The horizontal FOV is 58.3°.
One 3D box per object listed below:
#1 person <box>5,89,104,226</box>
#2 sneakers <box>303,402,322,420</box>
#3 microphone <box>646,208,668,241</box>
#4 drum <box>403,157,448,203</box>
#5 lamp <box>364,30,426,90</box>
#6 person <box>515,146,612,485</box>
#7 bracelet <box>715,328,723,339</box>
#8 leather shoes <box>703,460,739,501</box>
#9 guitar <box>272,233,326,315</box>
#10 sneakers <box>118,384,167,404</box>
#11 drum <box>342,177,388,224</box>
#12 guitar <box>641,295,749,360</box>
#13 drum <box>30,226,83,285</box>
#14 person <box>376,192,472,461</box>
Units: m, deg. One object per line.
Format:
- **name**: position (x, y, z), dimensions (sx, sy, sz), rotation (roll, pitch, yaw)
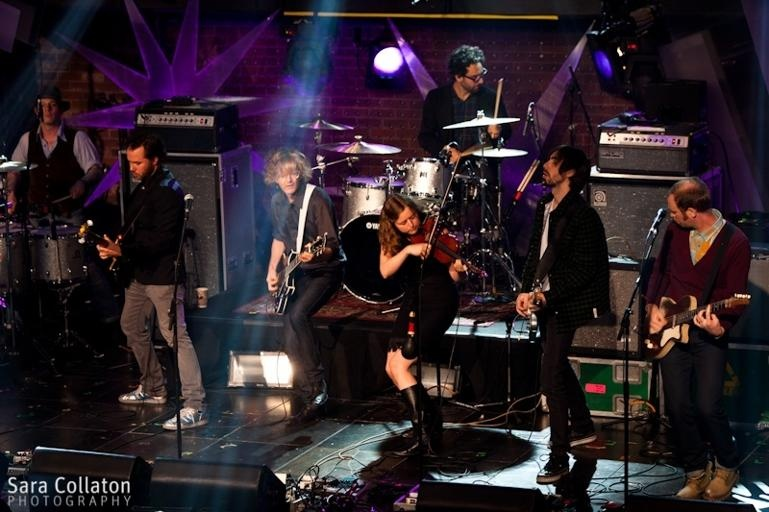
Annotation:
- **person**: position (-4.479, -1.331, 9.068), dimensions (1.337, 1.888, 0.754), rotation (-5, -11, 21)
- **sneakers**: position (-0.707, 1.569, 6.963), dimensions (0.079, 0.158, 0.230), rotation (-10, -14, 41)
- **microphone**: position (2.540, -0.294, 6.373), dimensions (0.087, 0.433, 0.086), rotation (33, -16, -3)
- **drum**: position (0.506, -0.949, 8.480), dimensions (0.582, 0.404, 0.551), rotation (7, 8, -1)
- **lamp**: position (0.222, -2.746, 9.801), dimensions (0.953, 0.894, 0.459), rotation (-2, -10, 2)
- **person**: position (1.511, 0.503, 5.828), dimensions (0.761, 2.740, 0.890), rotation (-2, -10, 2)
- **bracelet**: position (2.604, 0.596, 5.315), dimensions (0.078, 0.081, 0.099), rotation (-3, 1, 16)
- **leather shoes**: position (2.725, 1.823, 5.547), dimensions (0.177, 0.188, 0.481), rotation (5, 12, 38)
- **guitar**: position (-0.835, 0.177, 6.909), dimensions (0.264, 0.742, 0.600), rotation (8, -14, -42)
- **sneakers**: position (-2.592, 1.471, 7.445), dimensions (0.557, 0.217, 0.198), rotation (5, -1, 1)
- **drum**: position (-0.268, -0.713, 8.796), dimensions (0.593, 0.538, 0.561), rotation (-1, 10, -9)
- **guitar**: position (2.431, 0.556, 5.496), dimensions (0.231, 0.498, 0.727), rotation (6, -12, -34)
- **drum**: position (-4.047, -0.003, 8.380), dimensions (0.681, 0.631, 0.661), rotation (-4, 4, -41)
- **person**: position (0.344, 0.607, 6.058), dimensions (0.727, 2.251, 1.179), rotation (-2, -10, 5)
